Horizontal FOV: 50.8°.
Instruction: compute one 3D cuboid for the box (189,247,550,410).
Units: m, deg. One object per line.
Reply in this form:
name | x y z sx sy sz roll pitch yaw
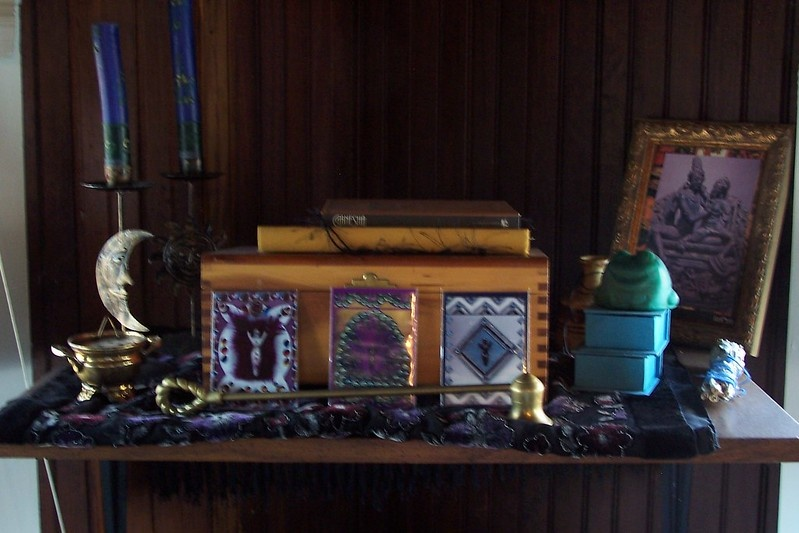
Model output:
box | -0.041 0.048 1.742 0.645 0.288 0.418 2 15 4
